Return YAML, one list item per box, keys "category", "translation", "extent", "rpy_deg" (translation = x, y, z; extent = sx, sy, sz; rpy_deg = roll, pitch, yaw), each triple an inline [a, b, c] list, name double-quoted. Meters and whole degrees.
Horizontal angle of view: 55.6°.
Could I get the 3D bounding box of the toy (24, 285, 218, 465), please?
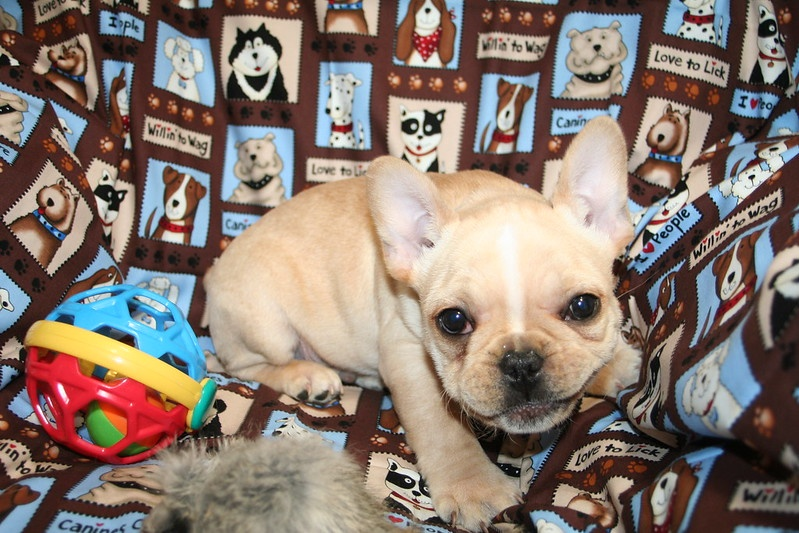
- category: "toy"
  translation: [-1.297, 0.471, 3.690]
  extent: [0.780, 0.770, 0.765]
  rpy_deg: [12, -2, 0]
